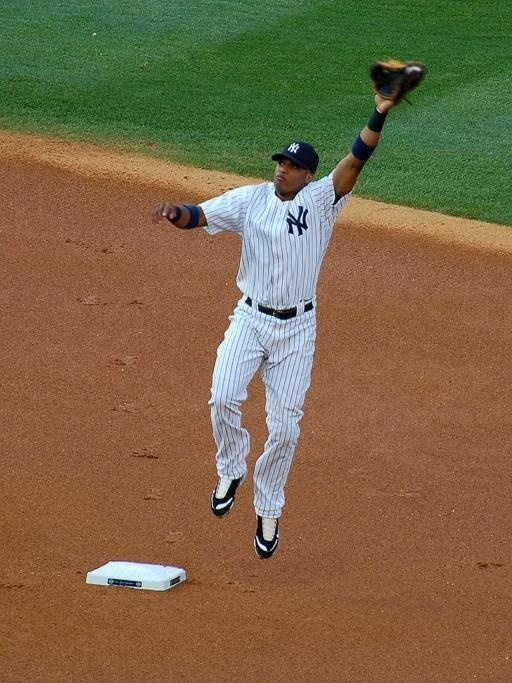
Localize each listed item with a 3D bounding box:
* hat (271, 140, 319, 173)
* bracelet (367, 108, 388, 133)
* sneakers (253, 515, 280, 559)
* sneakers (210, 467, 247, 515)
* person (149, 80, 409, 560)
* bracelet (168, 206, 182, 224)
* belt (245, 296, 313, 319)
[{"bbox_3d":[0.216,-0.963,4.837,0.234,0.175,0.232,1,27,-5],"label":"hat"},{"bbox_3d":[0.609,-1.116,4.614,0.086,0.115,0.155,6,27,4],"label":"bracelet"},{"bbox_3d":[0.068,1.109,5.211,0.119,0.273,0.120,1,-6,-12],"label":"sneakers"},{"bbox_3d":[-0.131,0.833,5.175,0.129,0.126,0.310,14,33,7],"label":"sneakers"},{"bbox_3d":[0.039,0.015,5.003,0.872,2.755,0.847,15,32,17],"label":"person"},{"bbox_3d":[-0.405,-0.647,4.711,0.030,0.081,0.064,8,24,-22],"label":"bracelet"},{"bbox_3d":[0.151,-0.163,4.826,0.309,0.067,0.091,-1,28,-9],"label":"belt"}]
